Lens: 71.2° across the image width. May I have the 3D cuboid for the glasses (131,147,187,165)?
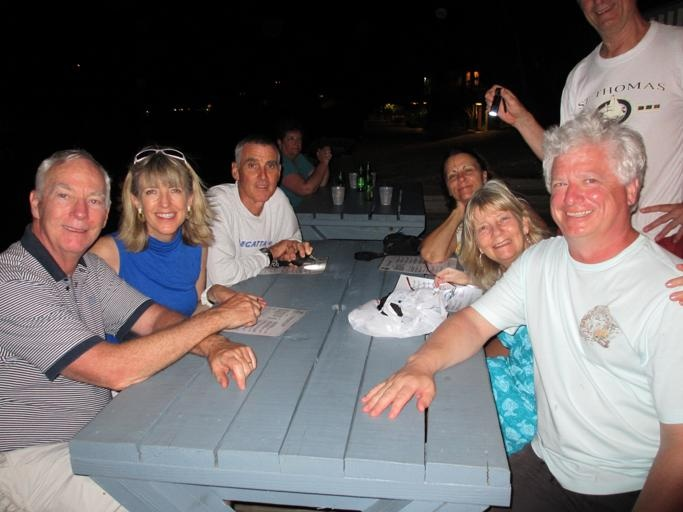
[{"bbox_3d":[-1.078,-0.603,2.844,0.188,0.049,0.172,0,-20,-15],"label":"glasses"}]

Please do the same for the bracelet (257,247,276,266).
[{"bbox_3d":[-0.507,0.005,3.304,0.050,0.117,0.120,-30,47,-19],"label":"bracelet"}]

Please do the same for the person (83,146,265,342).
[{"bbox_3d":[-0.942,-0.046,2.772,0.704,1.180,0.952,15,28,27],"label":"person"}]

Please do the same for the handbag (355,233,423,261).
[{"bbox_3d":[0.368,-0.065,3.580,0.353,0.104,0.254,0,17,5],"label":"handbag"}]
